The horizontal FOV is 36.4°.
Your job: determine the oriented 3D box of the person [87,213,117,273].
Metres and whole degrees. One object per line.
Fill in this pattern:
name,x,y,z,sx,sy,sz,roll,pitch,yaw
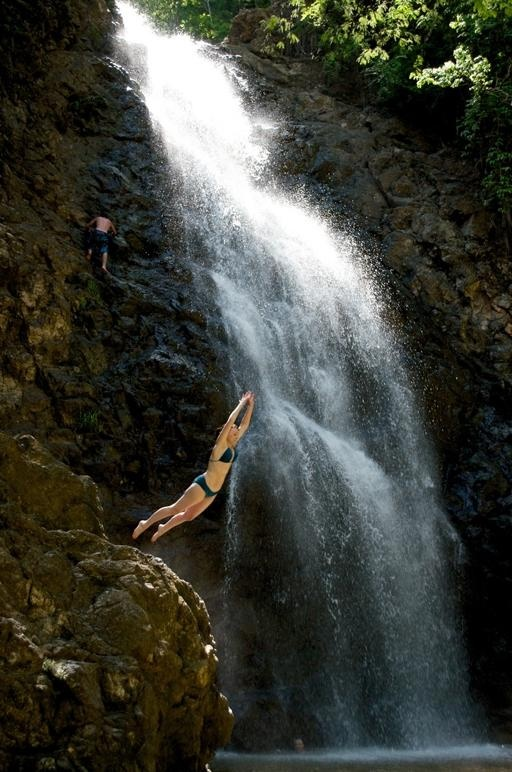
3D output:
person,-2.765,-2.531,13.771,0.467,0.453,1.343,11,58,-15

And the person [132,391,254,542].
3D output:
person,-0.551,0.834,8.484,0.813,1.770,0.440,9,17,-19
